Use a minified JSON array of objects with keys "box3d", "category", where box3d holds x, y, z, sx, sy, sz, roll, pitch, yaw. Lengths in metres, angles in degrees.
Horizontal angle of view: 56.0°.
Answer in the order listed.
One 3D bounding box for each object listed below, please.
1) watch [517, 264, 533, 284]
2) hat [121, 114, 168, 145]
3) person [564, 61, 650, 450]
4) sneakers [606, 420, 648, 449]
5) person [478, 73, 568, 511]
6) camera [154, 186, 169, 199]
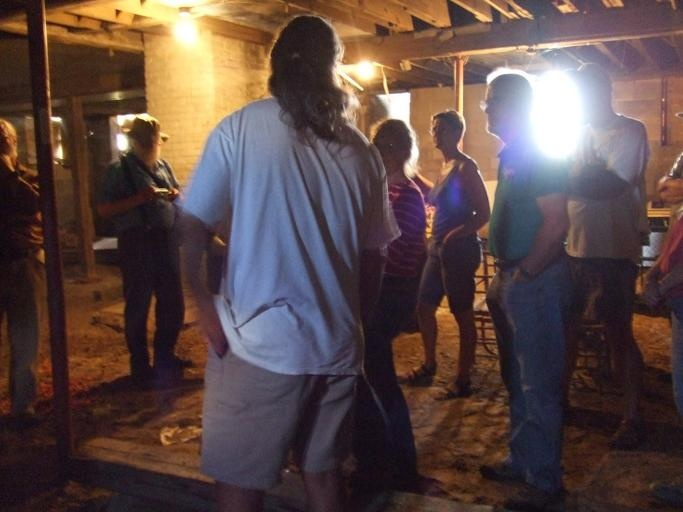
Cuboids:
[{"box3d":[1.253,0.122,4.347,0.082,0.073,0.106,0,0,-4],"category":"watch"},{"box3d":[-1.957,-1.321,6.401,0.499,0.282,0.363,-2,24,-39],"category":"hat"},{"box3d":[2.092,-0.014,5.024,0.613,2.914,0.602,3,12,20],"category":"person"},{"box3d":[2.244,1.410,5.003,0.246,0.070,0.193,-27,27,7],"category":"sneakers"},{"box3d":[1.275,0.216,4.393,0.686,2.896,0.551,6,13,35],"category":"person"},{"box3d":[-1.742,-0.613,6.205,0.155,0.093,0.099,-9,14,-31],"category":"camera"}]
